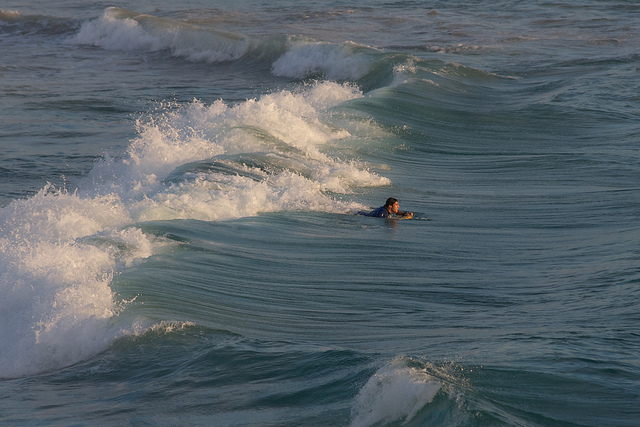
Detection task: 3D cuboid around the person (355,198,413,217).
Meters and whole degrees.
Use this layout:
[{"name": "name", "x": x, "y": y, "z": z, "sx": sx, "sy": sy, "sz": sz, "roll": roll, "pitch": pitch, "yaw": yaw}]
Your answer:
[{"name": "person", "x": 1.413, "y": -0.135, "z": 27.588, "sx": 1.255, "sy": 0.297, "sz": 0.459, "roll": -2, "pitch": 7, "yaw": 4}]
